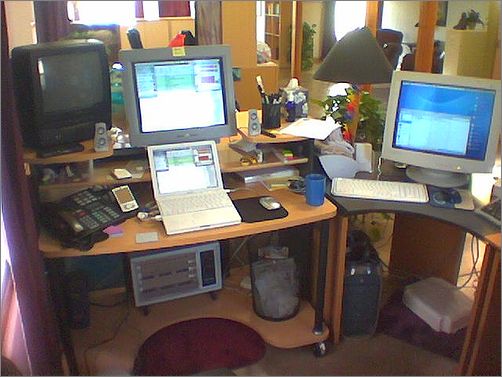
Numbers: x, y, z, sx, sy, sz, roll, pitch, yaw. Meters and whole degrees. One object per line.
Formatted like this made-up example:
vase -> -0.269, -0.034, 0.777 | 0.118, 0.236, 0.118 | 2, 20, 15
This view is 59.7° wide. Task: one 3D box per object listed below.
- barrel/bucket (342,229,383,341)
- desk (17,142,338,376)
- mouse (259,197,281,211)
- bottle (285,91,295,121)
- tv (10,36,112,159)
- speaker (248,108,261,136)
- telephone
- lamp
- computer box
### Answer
barrel/bucket -> 0.667, 0.606, 2.651 | 0.322, 0.592, 0.485 | 3, 27, 11
desk -> -0.329, 0.244, 2.677 | 1.828, 1.262, 1.156 | -6, 37, -8
mouse -> 0.099, 0.079, 2.374 | 0.063, 0.022, 0.092 | -16, 37, -25
bottle -> 0.245, -0.512, 2.721 | 0.067, 0.176, 0.058 | 0, 23, 9
tv -> -0.952, -0.439, 2.163 | 0.303, 0.561, 0.494 | 19, 27, 37
speaker -> 0.014, -0.397, 2.576 | 0.079, 0.149, 0.099 | -4, 23, -1
telephone -> -0.839, 0.144, 2.190 | 0.355, 0.105, 0.261 | -29, 60, -31
lamp -> 0.630, -0.621, 2.700 | 0.429, 0.707, 0.287 | -10, 23, -15
computer box -> 0.664, 0.612, 2.650 | 0.285, 0.491, 0.522 | 3, 35, 13
